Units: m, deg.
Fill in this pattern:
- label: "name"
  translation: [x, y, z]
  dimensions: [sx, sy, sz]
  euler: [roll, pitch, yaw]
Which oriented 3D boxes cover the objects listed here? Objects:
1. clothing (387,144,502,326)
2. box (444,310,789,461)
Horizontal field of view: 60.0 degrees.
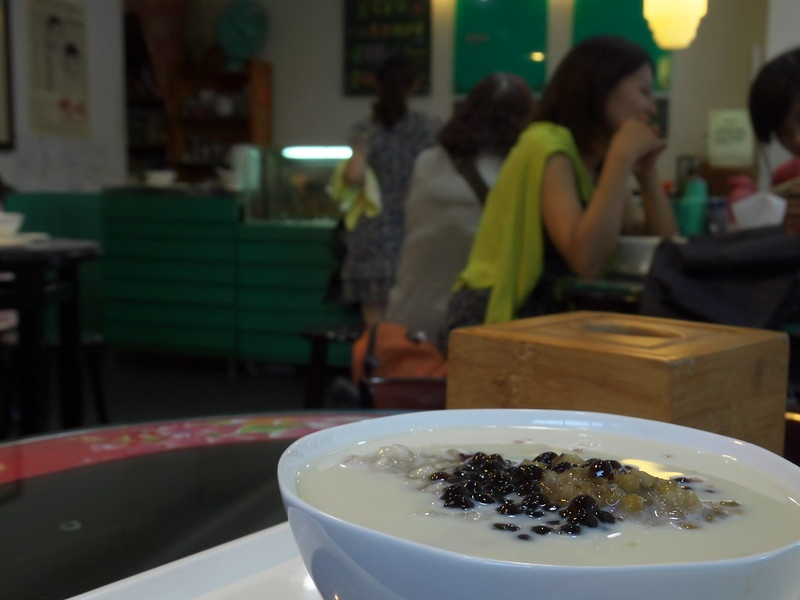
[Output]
- label: "clothing"
  translation: [0.067, -0.108, 1.041]
  dimensions: [0.110, 0.265, 0.091]
  euler: [35, 42, 21]
- label: "box"
  translation: [0.229, 0.061, 0.682]
  dimensions: [0.220, 0.142, 0.214]
  euler: [-8, 24, -36]
